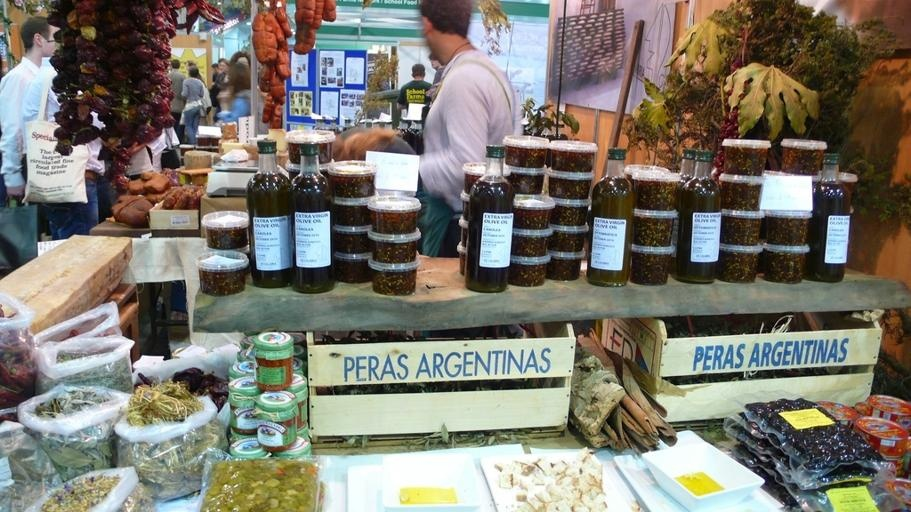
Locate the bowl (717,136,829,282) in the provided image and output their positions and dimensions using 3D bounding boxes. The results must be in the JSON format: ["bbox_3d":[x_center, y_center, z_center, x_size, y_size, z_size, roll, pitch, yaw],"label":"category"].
[{"bbox_3d":[1.774,-0.253,3.518,0.649,0.776,0.266,-4,15,-15],"label":"bowl"}]

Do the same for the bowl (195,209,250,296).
[{"bbox_3d":[-1.179,-0.004,3.227,0.243,0.368,0.205,-3,15,-10],"label":"bowl"}]

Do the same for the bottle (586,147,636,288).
[{"bbox_3d":[0.827,-0.200,3.341,0.222,0.725,0.135,4,15,14],"label":"bottle"}]

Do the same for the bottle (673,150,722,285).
[{"bbox_3d":[1.319,-0.207,3.413,0.184,0.705,0.141,14,21,43],"label":"bottle"}]

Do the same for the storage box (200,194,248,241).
[{"bbox_3d":[-1.747,-0.330,4.735,0.416,0.239,0.403,2,11,-3],"label":"storage box"}]

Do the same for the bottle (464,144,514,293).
[{"bbox_3d":[0.171,-0.179,3.220,0.242,0.745,0.108,0,15,2],"label":"bottle"}]

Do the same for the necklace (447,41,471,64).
[{"bbox_3d":[0.040,-1.415,4.370,0.163,0.042,0.120,-32,9,13],"label":"necklace"}]

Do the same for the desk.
[{"bbox_3d":[-2.163,0.143,4.439,0.633,0.827,0.904,7,12,4],"label":"desk"}]

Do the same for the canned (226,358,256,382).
[{"bbox_3d":[-1.059,0.558,3.134,0.118,0.068,0.113,1,11,-16],"label":"canned"}]

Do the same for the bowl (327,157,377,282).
[{"bbox_3d":[-0.527,-0.192,3.363,0.336,0.583,0.308,1,2,0],"label":"bowl"}]

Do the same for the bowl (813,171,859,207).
[{"bbox_3d":[2.127,-0.380,3.545,0.256,0.180,0.254,0,9,0],"label":"bowl"}]

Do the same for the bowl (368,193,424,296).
[{"bbox_3d":[-0.317,-0.053,3.240,0.262,0.499,0.172,-2,15,-8],"label":"bowl"}]

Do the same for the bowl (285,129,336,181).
[{"bbox_3d":[-0.763,-0.534,3.305,0.262,0.244,0.259,1,15,0],"label":"bowl"}]
